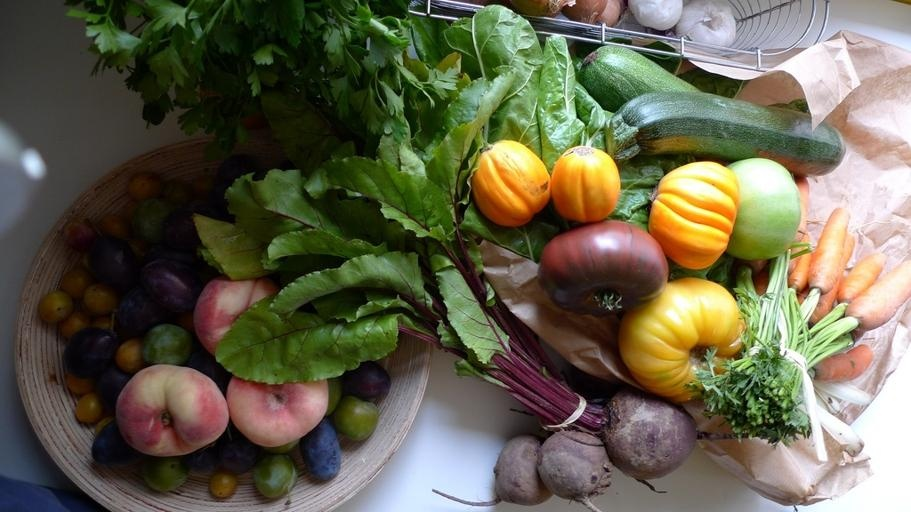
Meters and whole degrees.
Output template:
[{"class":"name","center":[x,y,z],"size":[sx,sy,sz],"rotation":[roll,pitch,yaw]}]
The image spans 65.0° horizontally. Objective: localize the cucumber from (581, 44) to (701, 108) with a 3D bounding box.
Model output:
[{"class":"cucumber","center":[0.507,-0.465,1.998],"size":[0.331,0.147,0.145],"rotation":[21,65,21]}]

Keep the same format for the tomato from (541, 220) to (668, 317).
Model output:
[{"class":"tomato","center":[0.374,0.034,1.828],"size":[0.318,0.224,0.115],"rotation":[8,33,0]}]

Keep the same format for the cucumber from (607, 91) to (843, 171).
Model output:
[{"class":"cucumber","center":[0.725,-0.324,1.916],"size":[0.649,0.169,0.105],"rotation":[5,33,-6]}]

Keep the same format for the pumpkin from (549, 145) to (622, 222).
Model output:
[{"class":"pumpkin","center":[0.328,-0.169,1.828],"size":[0.171,0.197,0.087],"rotation":[11,33,5]}]

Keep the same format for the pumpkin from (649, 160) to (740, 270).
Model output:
[{"class":"pumpkin","center":[0.626,-0.120,1.912],"size":[0.205,0.268,0.220],"rotation":[13,14,37]}]

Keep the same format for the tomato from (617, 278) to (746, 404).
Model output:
[{"class":"tomato","center":[0.584,0.203,1.967],"size":[0.311,0.316,0.224],"rotation":[-21,14,-2]}]

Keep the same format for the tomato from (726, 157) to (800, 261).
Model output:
[{"class":"tomato","center":[0.795,-0.113,1.905],"size":[0.128,0.304,0.174],"rotation":[6,2,-17]}]
